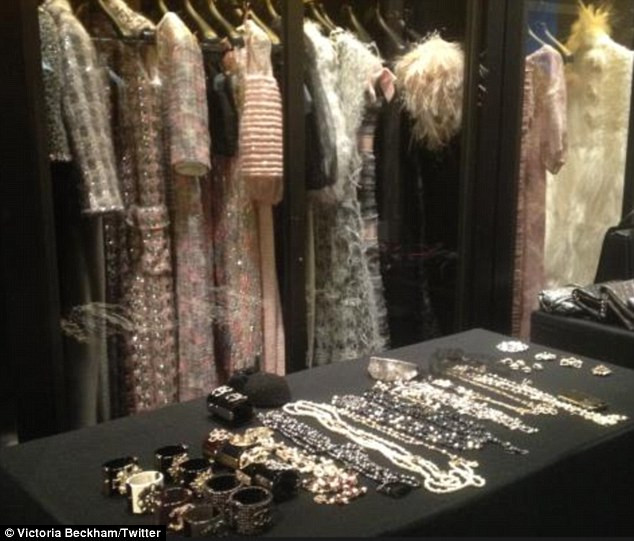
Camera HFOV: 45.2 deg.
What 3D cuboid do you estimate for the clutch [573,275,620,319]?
[{"bbox_3d":[1.131,0.114,3.108,0.169,0.125,0.146,2,14,-2],"label":"clutch"}]
